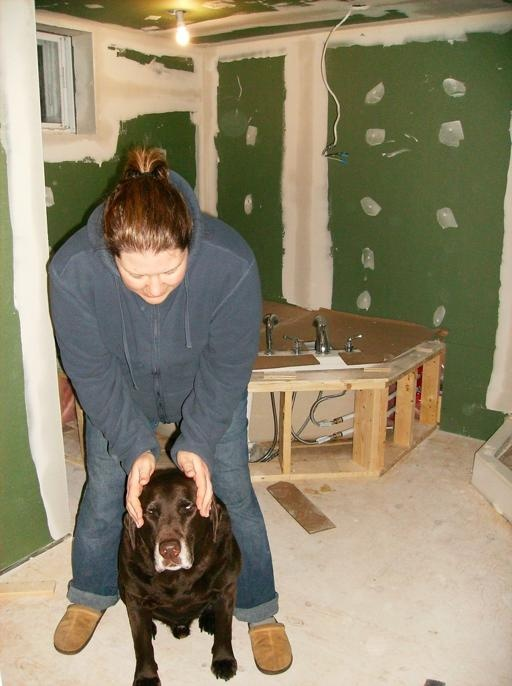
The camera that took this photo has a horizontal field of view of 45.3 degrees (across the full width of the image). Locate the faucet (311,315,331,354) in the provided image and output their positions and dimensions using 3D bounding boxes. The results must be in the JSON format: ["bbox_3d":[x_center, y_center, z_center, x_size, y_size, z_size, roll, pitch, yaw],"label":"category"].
[{"bbox_3d":[0.360,-0.072,3.347,0.096,0.194,0.313,3,15,7],"label":"faucet"}]
